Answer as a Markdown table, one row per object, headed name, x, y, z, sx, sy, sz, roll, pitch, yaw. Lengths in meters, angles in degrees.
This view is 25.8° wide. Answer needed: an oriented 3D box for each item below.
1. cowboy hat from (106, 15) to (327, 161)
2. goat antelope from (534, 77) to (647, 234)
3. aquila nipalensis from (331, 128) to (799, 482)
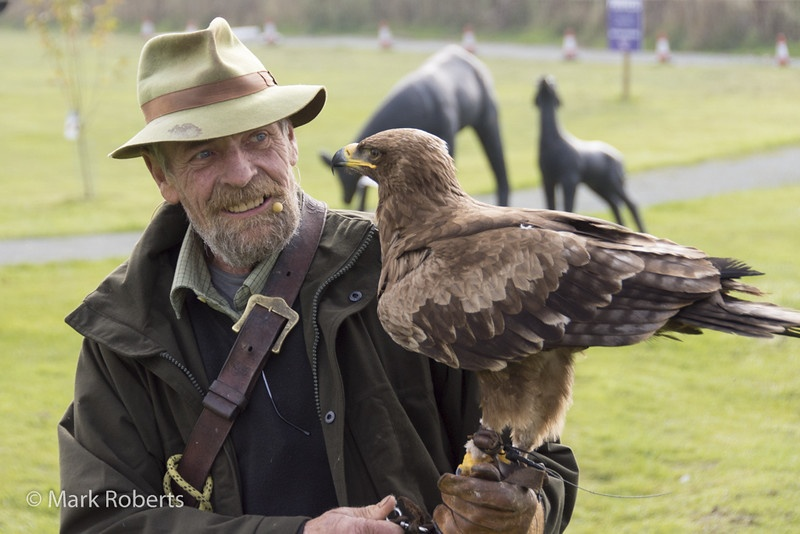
| name | x | y | z | sx | sy | sz | roll | pitch | yaw |
| --- | --- | --- | --- | --- | --- | --- | --- | --- | --- |
| cowboy hat | -1.628 | -1.460 | 14.621 | 1.402 | 0.710 | 1.242 | -21 | 14 | 20 |
| goat antelope | 1.926 | -1.133 | 17.735 | 0.816 | 1.690 | 0.937 | -9 | 20 | -19 |
| aquila nipalensis | 1.102 | -0.143 | 14.326 | 3.274 | 1.782 | 0.937 | 1 | 18 | 3 |
